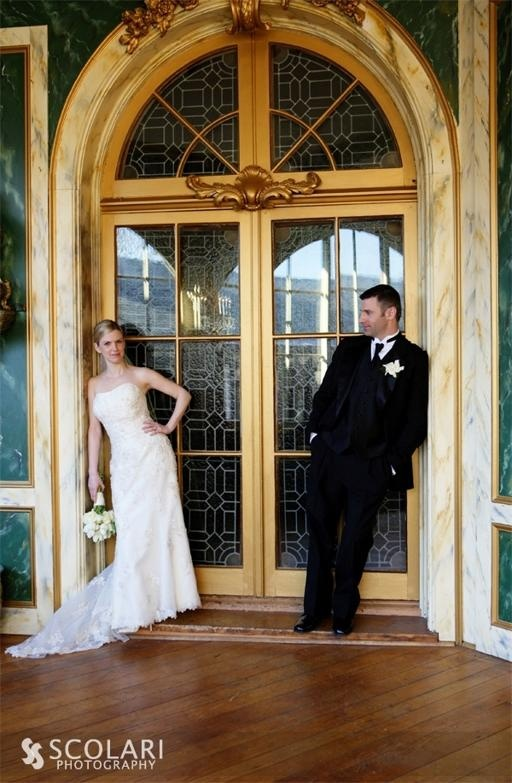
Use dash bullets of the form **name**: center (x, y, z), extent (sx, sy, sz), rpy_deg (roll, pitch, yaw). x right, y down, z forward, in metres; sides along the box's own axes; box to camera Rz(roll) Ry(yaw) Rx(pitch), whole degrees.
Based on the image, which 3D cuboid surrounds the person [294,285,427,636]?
- **person**: center (0.525, 0.338, 4.401), extent (0.627, 1.698, 0.456), rpy_deg (1, 9, 11)

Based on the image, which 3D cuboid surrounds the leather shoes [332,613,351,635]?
- **leather shoes**: center (0.425, 1.145, 4.355), extent (0.077, 0.068, 0.195), rpy_deg (1, -8, 7)

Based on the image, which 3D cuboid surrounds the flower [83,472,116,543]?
- **flower**: center (-0.802, 0.630, 4.623), extent (0.172, 0.243, 0.160), rpy_deg (15, -18, -36)

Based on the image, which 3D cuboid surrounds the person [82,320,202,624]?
- **person**: center (-0.580, 0.416, 4.532), extent (0.533, 1.539, 0.605), rpy_deg (-3, 9, -11)

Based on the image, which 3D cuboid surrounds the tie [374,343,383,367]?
- **tie**: center (0.606, -0.189, 4.409), extent (0.032, 0.132, 0.037), rpy_deg (9, -19, 27)
